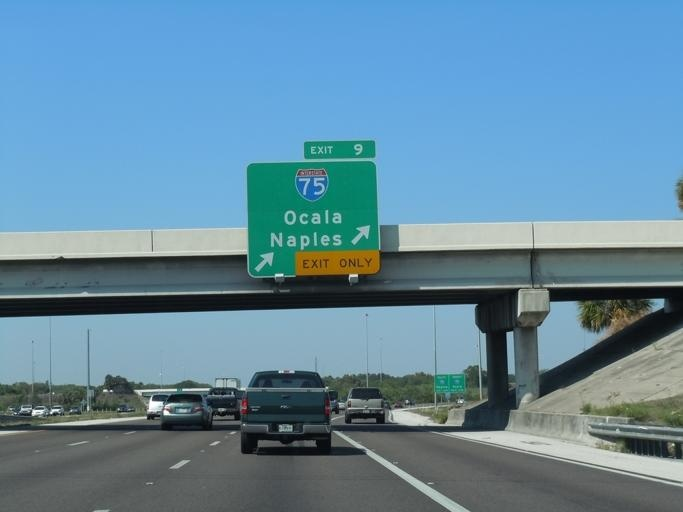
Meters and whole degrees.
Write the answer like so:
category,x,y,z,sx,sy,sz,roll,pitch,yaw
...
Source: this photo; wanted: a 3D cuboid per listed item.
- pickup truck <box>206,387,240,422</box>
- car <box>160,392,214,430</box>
category,x,y,z,sx,sy,sz,roll,pitch,yaw
pickup truck,-8.006,9.980,74.197,1.525,1.553,3.099,0,-7,0
car,-7.528,7.518,53.567,2.181,1.897,1.875,-1,-12,0
